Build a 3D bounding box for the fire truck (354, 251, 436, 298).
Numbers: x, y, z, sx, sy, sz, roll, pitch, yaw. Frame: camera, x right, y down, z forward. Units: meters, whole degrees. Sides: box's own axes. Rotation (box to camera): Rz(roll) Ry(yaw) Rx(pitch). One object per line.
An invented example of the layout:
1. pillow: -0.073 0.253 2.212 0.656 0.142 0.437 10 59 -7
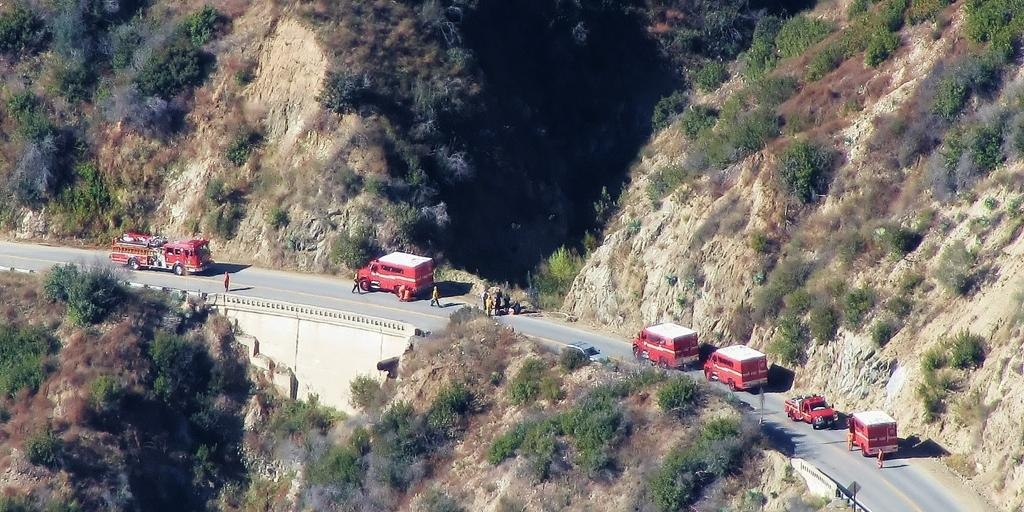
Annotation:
1. fire truck: -13.186 2.306 226.407 7.800 5.448 2.733 2 -10 15
